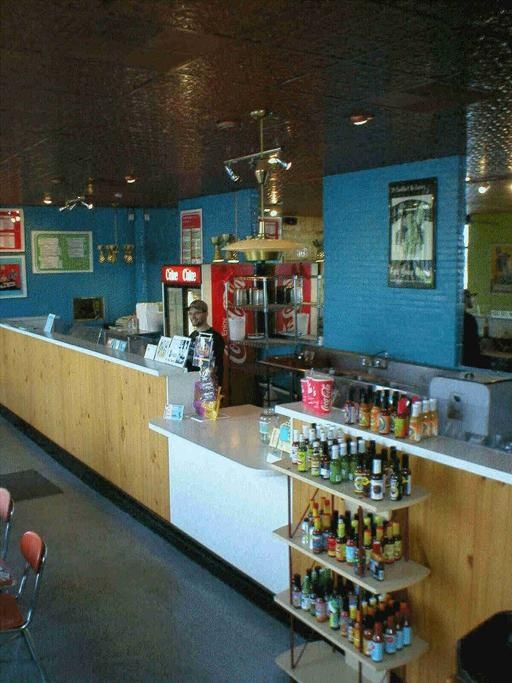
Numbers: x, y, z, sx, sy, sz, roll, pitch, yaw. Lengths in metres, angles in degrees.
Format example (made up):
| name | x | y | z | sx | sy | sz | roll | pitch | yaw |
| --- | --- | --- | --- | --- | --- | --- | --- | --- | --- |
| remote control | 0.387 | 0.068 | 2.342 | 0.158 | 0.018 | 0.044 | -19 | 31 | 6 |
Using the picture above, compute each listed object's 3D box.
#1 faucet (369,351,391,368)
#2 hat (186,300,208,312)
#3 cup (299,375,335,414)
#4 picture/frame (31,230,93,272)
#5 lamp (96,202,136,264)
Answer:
| name | x | y | z | sx | sy | sz | roll | pitch | yaw |
| --- | --- | --- | --- | --- | --- | --- | --- | --- | --- |
| faucet | 1.199 | 0.195 | 5.431 | 0.163 | 0.193 | 0.210 | 2 | -1 | -35 |
| hat | -0.541 | -0.327 | 5.250 | 0.149 | 0.105 | 0.243 | 0 | 5 | 0 |
| cup | 0.323 | 0.290 | 3.043 | 0.159 | 0.154 | 0.189 | 0 | -1 | -2 |
| picture/frame | -3.734 | -1.715 | 10.720 | 0.914 | 0.687 | 0.034 | -2 | 0 | -42 |
| lamp | -2.747 | -2.063 | 11.206 | 0.763 | 1.097 | 0.487 | -3 | 6 | -26 |
